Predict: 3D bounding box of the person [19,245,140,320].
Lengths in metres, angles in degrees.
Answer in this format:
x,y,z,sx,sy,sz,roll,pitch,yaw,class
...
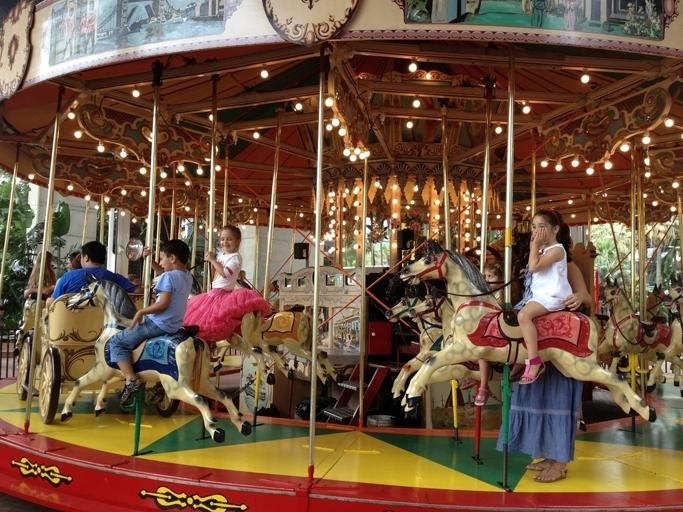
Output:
x,y,z,sx,sy,sz,roll,pitch,yaw,class
-3.626,0.241,8.492,1.496,0.874,1.005,4,2,-3,person

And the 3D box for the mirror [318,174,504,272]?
x,y,z,sx,sy,sz,roll,pitch,yaw,class
1.228,-0.774,13.602,2.379,1.067,2.491,2,-4,-7,mirror

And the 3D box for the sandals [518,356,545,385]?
x,y,z,sx,sy,sz,roll,pitch,yaw,class
1.912,1.141,6.356,0.154,0.193,0.474,-4,1,31,sandals

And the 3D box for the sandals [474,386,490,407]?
x,y,z,sx,sy,sz,roll,pitch,yaw,class
1.496,1.513,6.841,0.153,0.141,0.443,-1,-2,12,sandals

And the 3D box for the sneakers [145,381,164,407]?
x,y,z,sx,sy,sz,roll,pitch,yaw,class
-2.384,1.792,8.203,0.148,0.437,0.286,15,-26,-35,sneakers

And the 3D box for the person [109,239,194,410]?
x,y,z,sx,sy,sz,roll,pitch,yaw,class
-2.144,0.722,7.128,0.870,1.769,0.580,1,0,-15,person

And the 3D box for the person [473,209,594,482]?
x,y,z,sx,sy,sz,roll,pitch,yaw,class
2.159,0.913,6.733,0.939,1.825,0.754,1,0,15,person

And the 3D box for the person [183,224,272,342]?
x,y,z,sx,sy,sz,roll,pitch,yaw,class
-1.575,0.376,8.465,1.269,1.462,1.096,-13,-15,40,person
